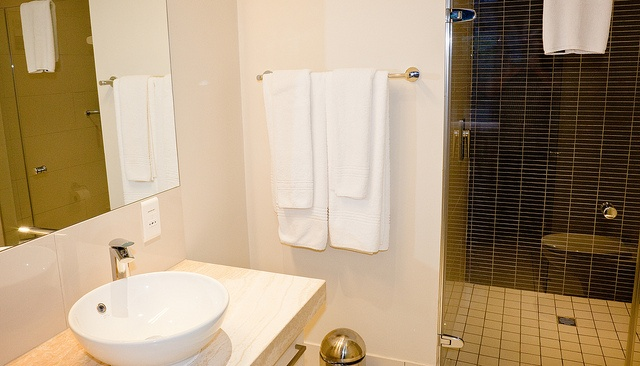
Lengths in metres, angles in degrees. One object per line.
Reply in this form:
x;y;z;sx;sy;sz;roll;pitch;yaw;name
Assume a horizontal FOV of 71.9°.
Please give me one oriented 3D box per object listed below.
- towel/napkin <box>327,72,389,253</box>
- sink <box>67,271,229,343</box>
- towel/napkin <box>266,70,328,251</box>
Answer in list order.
0.218;-0.122;2.604;0.351;1.062;0.312;-1;20;0;towel/napkin
-0.741;0.579;1.933;0.602;0.226;0.392;-11;20;-28;sink
-0.140;-0.132;2.705;0.388;1.080;0.287;-1;20;1;towel/napkin
